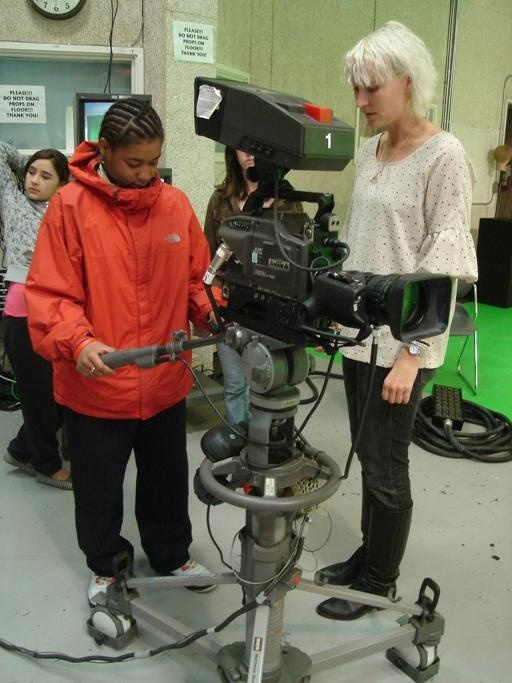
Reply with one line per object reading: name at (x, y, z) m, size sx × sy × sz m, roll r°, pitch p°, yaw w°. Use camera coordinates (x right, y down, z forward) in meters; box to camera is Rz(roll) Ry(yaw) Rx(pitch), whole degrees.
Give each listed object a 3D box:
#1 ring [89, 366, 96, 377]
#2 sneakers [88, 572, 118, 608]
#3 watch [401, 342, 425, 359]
ring at (-0.333, 0.060, 1.186) m, size 0.008 × 0.022 × 0.023 m, roll 0°, pitch -2°, yaw -41°
sneakers at (-0.446, 0.727, 1.688) m, size 0.080 × 0.051 × 0.138 m, roll 2°, pitch 6°, yaw -8°
watch at (0.363, 0.014, 1.339) m, size 0.053 × 0.038 × 0.069 m, roll 2°, pitch 1°, yaw 6°
